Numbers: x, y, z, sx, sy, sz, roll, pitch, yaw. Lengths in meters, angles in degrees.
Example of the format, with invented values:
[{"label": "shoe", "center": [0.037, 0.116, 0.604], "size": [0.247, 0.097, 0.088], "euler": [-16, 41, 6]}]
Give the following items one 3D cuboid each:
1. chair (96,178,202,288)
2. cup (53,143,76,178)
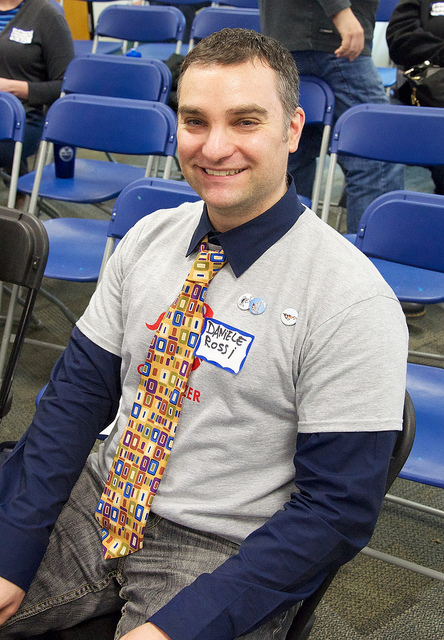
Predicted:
[{"label": "chair", "center": [-0.195, -0.313, 1.715], "size": [0.245, 0.392, 0.277], "euler": [6, 36, -18]}, {"label": "cup", "center": [-0.821, -0.831, 2.697], "size": [0.100, 0.171, 0.129], "euler": [-1, 22, -17]}]
